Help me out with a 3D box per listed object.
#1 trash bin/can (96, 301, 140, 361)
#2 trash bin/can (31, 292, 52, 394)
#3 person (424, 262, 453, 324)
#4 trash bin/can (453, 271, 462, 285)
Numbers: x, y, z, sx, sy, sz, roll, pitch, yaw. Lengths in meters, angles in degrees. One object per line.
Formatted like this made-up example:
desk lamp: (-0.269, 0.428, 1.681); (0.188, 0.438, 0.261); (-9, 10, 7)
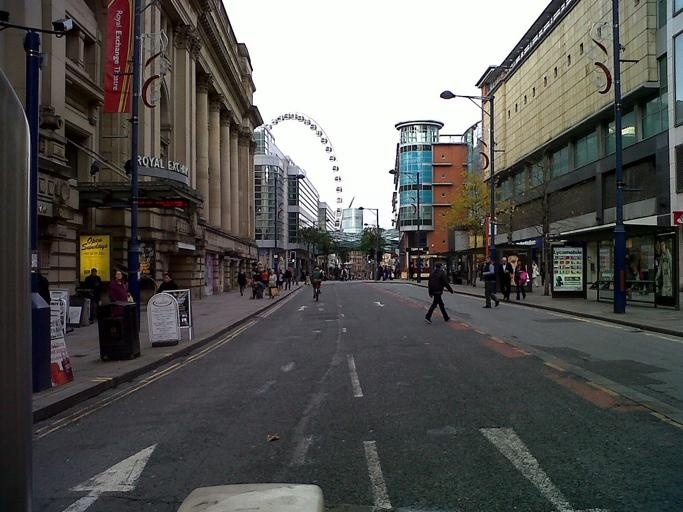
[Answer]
trash bin/can: (-4.879, 1.604, 12.924); (0.957, 2.053, 1.041); (1, -5, -18)
trash bin/can: (-5.064, 1.442, 10.168); (0.263, 1.631, 0.379); (-1, -2, -26)
person: (2.913, 1.060, 19.079); (0.895, 2.037, 0.704); (0, 0, -36)
trash bin/can: (9.688, 1.711, 50.495); (0.740, 1.684, 0.821); (-2, -5, 33)
